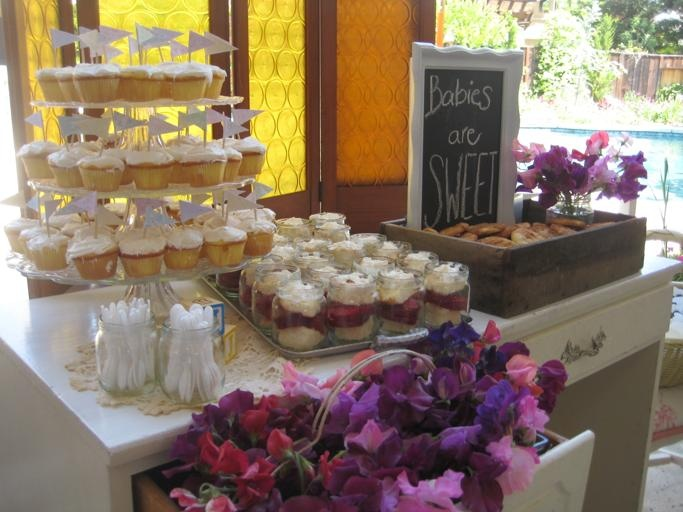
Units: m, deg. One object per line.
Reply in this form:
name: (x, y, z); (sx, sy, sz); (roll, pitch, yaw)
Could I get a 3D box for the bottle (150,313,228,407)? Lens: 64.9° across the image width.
bottle: (-0.267, 0.168, 0.945); (0.107, 0.151, 0.097); (5, 7, 21)

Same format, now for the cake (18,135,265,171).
cake: (-0.411, -0.199, 1.128); (0.505, 0.087, 0.178); (-4, 16, -13)

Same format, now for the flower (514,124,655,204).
flower: (0.664, -0.245, 1.506); (0.270, 0.156, 0.262); (4, -10, 13)

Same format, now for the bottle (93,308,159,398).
bottle: (-0.386, 0.169, 0.956); (0.109, 0.134, 0.109); (7, -4, 15)

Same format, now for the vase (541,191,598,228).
vase: (0.652, -0.134, 1.510); (0.101, 0.101, 0.106); (5, 17, 17)
